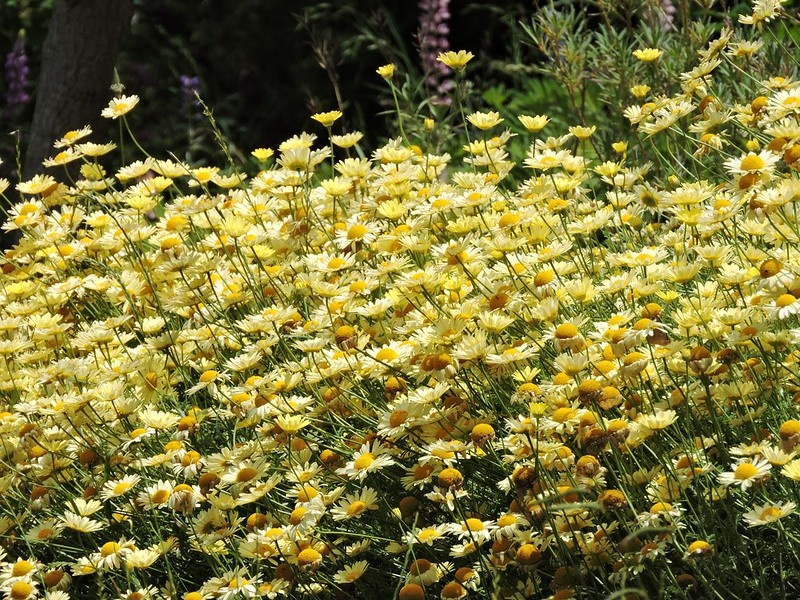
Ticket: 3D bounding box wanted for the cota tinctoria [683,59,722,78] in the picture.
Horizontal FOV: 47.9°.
[{"bbox_3d":[1.008,-0.773,3.035,0.102,0.043,0.104,-27,1,32],"label":"cota tinctoria"}]
